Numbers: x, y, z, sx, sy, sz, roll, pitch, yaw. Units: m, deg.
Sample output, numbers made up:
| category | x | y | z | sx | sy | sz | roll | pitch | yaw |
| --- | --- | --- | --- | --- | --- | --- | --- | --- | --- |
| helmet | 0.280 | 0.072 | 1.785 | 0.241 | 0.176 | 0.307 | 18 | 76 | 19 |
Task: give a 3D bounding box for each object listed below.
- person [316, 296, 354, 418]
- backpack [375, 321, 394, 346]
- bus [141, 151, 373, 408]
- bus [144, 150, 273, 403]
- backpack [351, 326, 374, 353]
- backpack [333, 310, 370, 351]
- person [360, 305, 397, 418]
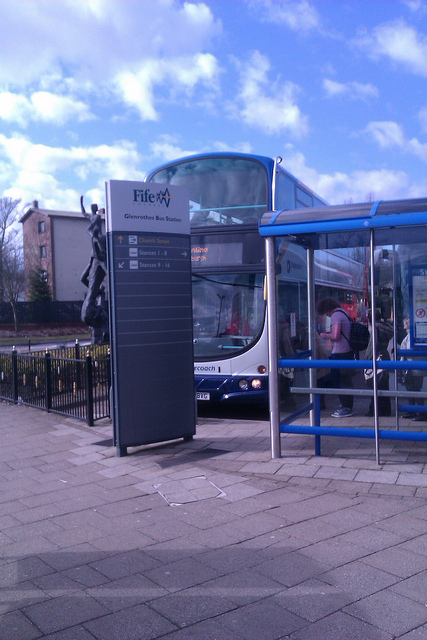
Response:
| category | x | y | z | sx | sy | sz | roll | pitch | yaw |
| --- | --- | --- | --- | --- | --- | --- | --- | --- | --- |
| person | 1.447 | 0.383 | 6.964 | 0.433 | 1.424 | 1.906 | -2 | -1 | 13 |
| backpack | 1.919 | 0.152 | 6.589 | 0.204 | 0.293 | 0.289 | -7 | -17 | 32 |
| bus | 1.497 | -0.763 | 12.194 | 2.047 | 4.136 | 7.613 | 1 | 2 | 25 |
| bus | 0.775 | -0.387 | 12.474 | 2.390 | 4.158 | 7.536 | 1 | -4 | 16 |
| backpack | 1.811 | 0.238 | 7.112 | 0.175 | 0.369 | 0.247 | -5 | -20 | 36 |
| backpack | 1.794 | 0.151 | 7.652 | 0.507 | 0.535 | 0.344 | -4 | -8 | 34 |
| person | 1.803 | 0.424 | 6.341 | 0.396 | 1.171 | 1.453 | -2 | -1 | 14 |
